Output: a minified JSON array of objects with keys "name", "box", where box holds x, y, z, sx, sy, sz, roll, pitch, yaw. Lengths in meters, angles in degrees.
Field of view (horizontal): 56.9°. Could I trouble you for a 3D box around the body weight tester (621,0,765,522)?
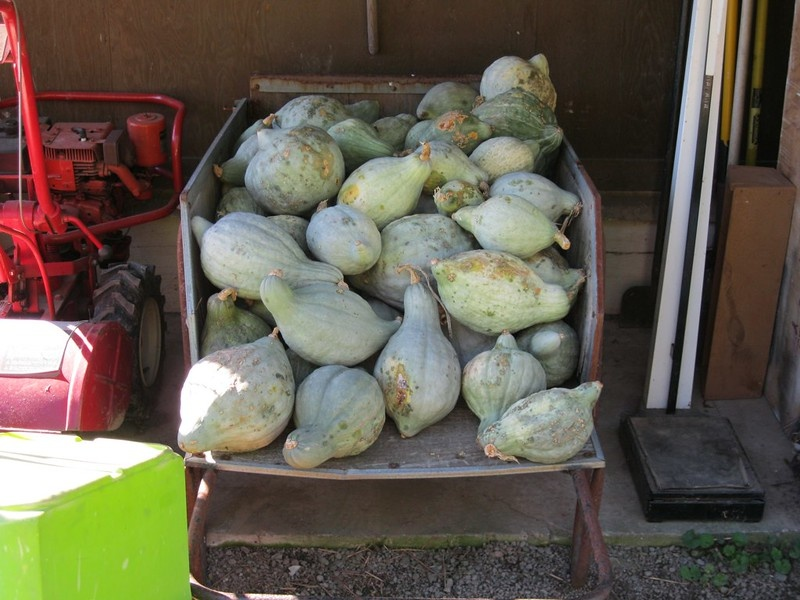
[{"name":"body weight tester","box":[1.602,-0.252,3.927,0.708,2.190,1.781,3,33,14]}]
